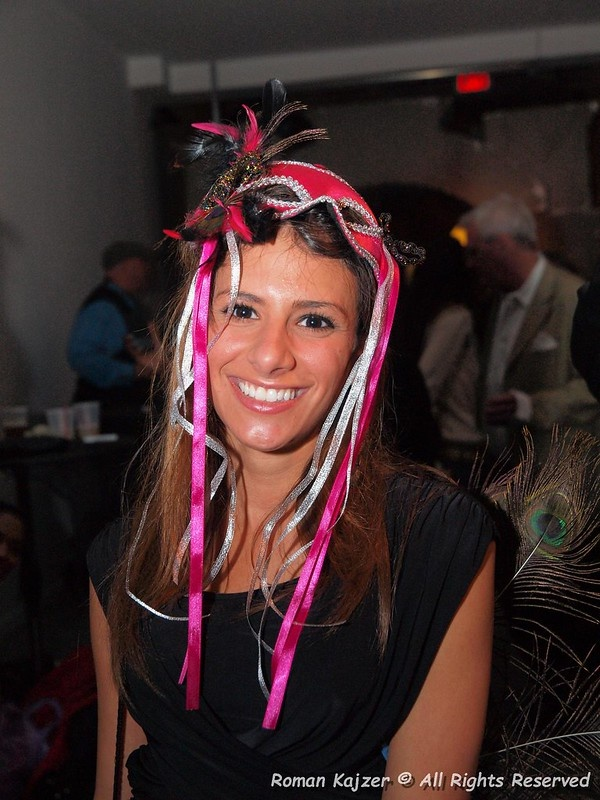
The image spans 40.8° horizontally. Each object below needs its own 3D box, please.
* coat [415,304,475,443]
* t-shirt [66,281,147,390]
[{"bbox_3d":[0.329,-0.057,1.811,0.193,0.269,0.074,5,11,20],"label":"coat"},{"bbox_3d":[-0.444,-0.162,1.891,0.124,0.164,0.199,6,38,-14],"label":"t-shirt"}]
